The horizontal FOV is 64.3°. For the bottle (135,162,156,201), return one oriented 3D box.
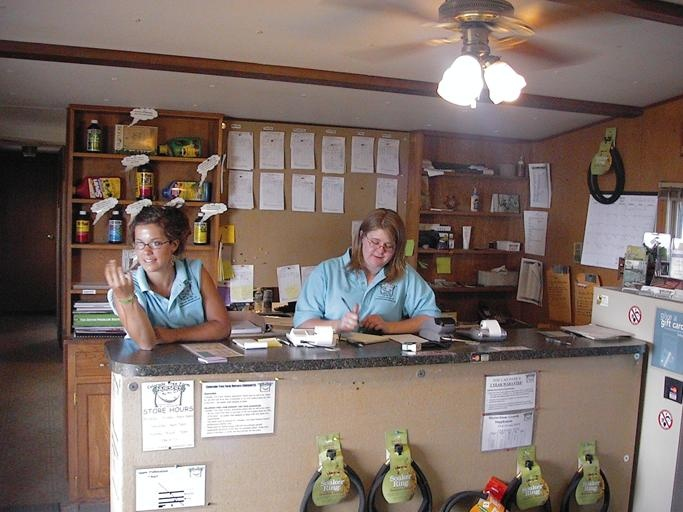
[{"bbox_3d":[-1.507,-0.579,4.169,0.136,0.296,0.194,0,1,-18],"label":"bottle"}]

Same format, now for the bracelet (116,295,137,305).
[{"bbox_3d":[-0.932,0.185,2.359,0.075,0.041,0.047,0,1,-17],"label":"bracelet"}]

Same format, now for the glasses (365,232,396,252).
[{"bbox_3d":[0.214,-0.082,3.052,0.165,0.107,0.082,0,1,2],"label":"glasses"}]

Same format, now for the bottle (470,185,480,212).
[{"bbox_3d":[1.204,-0.524,4.924,0.084,0.247,0.204,0,1,13],"label":"bottle"}]

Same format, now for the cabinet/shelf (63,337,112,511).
[{"bbox_3d":[-1.736,1.118,3.716,0.266,1.092,0.132,0,1,-21],"label":"cabinet/shelf"}]

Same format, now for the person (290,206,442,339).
[{"bbox_3d":[0.149,0.137,3.165,0.874,0.733,0.542,4,16,-10],"label":"person"}]

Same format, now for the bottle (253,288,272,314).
[{"bbox_3d":[-0.639,0.351,4.452,0.162,0.198,0.174,0,1,-11],"label":"bottle"}]

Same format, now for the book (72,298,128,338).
[{"bbox_3d":[-1.712,0.433,3.893,0.395,0.127,0.389,1,1,-24],"label":"book"}]

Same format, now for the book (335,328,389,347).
[{"bbox_3d":[0.104,0.407,2.688,0.251,0.034,0.238,0,0,13],"label":"book"}]

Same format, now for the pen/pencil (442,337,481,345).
[{"bbox_3d":[0.590,0.418,2.686,0.119,0.019,0.011,14,-47,-21],"label":"pen/pencil"}]

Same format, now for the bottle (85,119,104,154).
[{"bbox_3d":[-1.871,-0.905,4.097,0.121,0.273,0.150,0,1,-25],"label":"bottle"}]

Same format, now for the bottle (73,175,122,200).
[{"bbox_3d":[-1.841,-0.514,4.097,0.399,0.222,0.211,-5,7,-19],"label":"bottle"}]

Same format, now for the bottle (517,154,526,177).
[{"bbox_3d":[1.638,-0.827,4.966,0.067,0.210,0.108,1,1,33],"label":"bottle"}]

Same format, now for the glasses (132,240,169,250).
[{"bbox_3d":[-0.926,-0.057,2.630,0.163,0.046,0.071,0,0,-14],"label":"glasses"}]

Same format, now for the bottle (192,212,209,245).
[{"bbox_3d":[-1.113,-0.221,4.302,0.113,0.256,0.114,3,5,0],"label":"bottle"}]

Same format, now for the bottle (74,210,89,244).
[{"bbox_3d":[-1.975,-0.222,4.117,0.106,0.249,0.104,0,1,0],"label":"bottle"}]

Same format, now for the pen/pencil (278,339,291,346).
[{"bbox_3d":[-0.278,0.412,2.626,0.024,0.008,0.070,5,6,-26],"label":"pen/pencil"}]

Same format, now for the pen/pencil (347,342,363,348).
[{"bbox_3d":[0.068,0.421,2.590,0.020,0.024,0.083,8,-2,-29],"label":"pen/pencil"}]

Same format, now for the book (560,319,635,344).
[{"bbox_3d":[1.344,0.405,2.900,0.330,0.056,0.249,0,0,-22],"label":"book"}]

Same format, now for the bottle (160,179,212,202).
[{"bbox_3d":[-1.212,-0.511,4.241,0.297,0.139,0.167,-2,0,-12],"label":"bottle"}]

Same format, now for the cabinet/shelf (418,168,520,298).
[{"bbox_3d":[1.221,-0.271,5.162,1.148,1.036,0.340,5,2,-16],"label":"cabinet/shelf"}]
